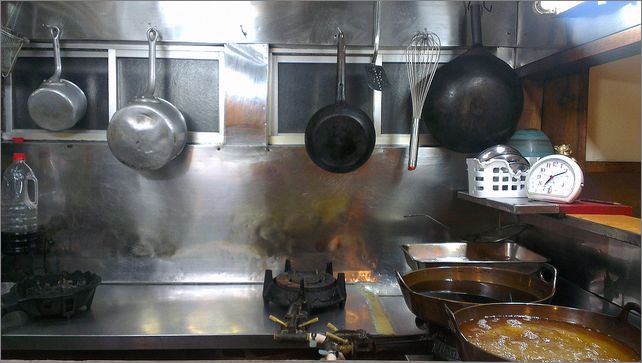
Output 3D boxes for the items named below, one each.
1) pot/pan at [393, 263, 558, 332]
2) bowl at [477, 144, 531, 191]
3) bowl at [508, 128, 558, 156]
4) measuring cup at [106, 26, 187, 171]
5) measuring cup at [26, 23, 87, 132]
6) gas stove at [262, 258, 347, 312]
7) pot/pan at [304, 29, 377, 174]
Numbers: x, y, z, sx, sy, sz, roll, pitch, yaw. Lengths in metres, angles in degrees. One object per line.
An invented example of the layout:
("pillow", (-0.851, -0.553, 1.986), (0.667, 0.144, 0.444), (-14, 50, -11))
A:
("pot/pan", (0.767, 0.561, 2.571), (0.556, 0.457, 0.173), (-2, -87, -10))
("bowl", (1.038, -0.077, 2.796), (0.207, 0.196, 0.096), (36, -100, -21))
("bowl", (1.226, -0.250, 2.926), (0.342, 0.262, 0.155), (-2, -77, -24))
("measuring cup", (-1.051, -0.456, 3.013), (0.421, 0.321, 0.861), (1, -87, 0))
("measuring cup", (-1.581, -0.624, 3.051), (0.355, 0.260, 0.614), (5, -81, 1))
("gas stove", (-0.103, 0.629, 2.981), (0.512, 0.492, 0.180), (2, -84, -8))
("pot/pan", (0.126, -0.461, 2.955), (0.475, 0.130, 0.837), (5, -71, 15))
